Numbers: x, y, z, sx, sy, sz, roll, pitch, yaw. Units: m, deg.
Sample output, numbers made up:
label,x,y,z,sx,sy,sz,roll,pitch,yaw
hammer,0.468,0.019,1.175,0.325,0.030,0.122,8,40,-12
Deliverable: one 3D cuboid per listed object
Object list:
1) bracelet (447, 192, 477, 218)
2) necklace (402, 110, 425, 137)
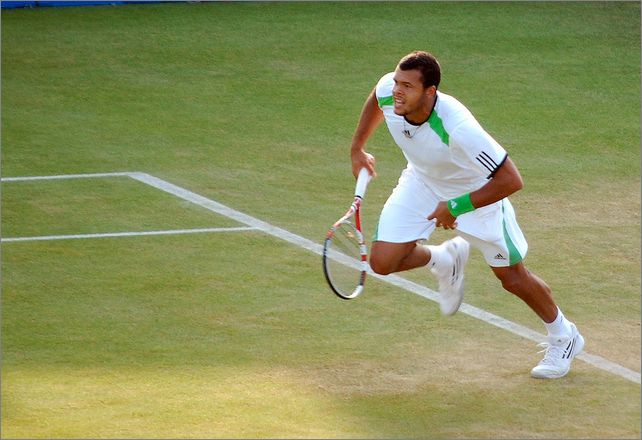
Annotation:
label,x,y,z,sx,sy,sz,roll,pitch,yaw
bracelet,1.262,-0.133,9.816,0.272,0.241,0.150,-18,69,11
necklace,0.828,-0.857,9.919,0.183,0.169,0.053,7,-7,19
